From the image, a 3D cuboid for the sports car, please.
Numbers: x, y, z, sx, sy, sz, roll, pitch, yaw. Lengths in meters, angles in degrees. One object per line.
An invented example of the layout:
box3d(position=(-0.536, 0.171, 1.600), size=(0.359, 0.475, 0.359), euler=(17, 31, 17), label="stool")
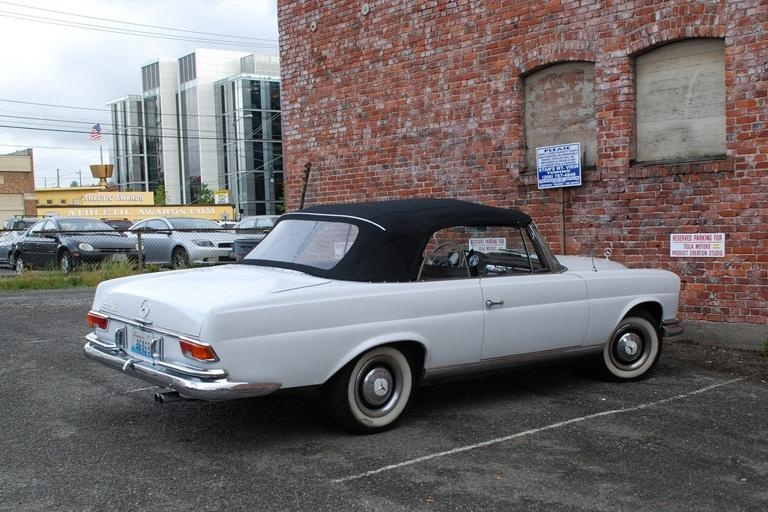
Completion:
box3d(position=(0.087, 0.415, 6.098), size=(5.432, 1.486, 2.467), euler=(-5, 8, -29), label="sports car")
